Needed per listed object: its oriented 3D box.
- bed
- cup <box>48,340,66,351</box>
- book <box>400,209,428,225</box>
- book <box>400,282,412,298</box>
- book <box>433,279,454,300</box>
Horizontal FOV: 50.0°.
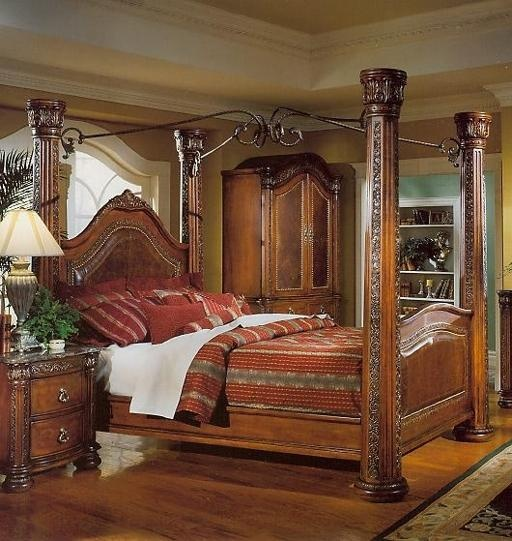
[{"bbox_3d":[0.779,0.324,3.891,3.011,1.997,2.535,-9,-19,44],"label":"bed"},{"bbox_3d":[-1.071,0.399,2.940,0.080,0.029,0.066,-1,3,-26],"label":"cup"},{"bbox_3d":[1.990,-0.664,6.872,0.299,0.179,0.260,2,3,36],"label":"book"},{"bbox_3d":[1.886,0.224,6.949,0.210,0.211,0.254,1,4,14],"label":"book"},{"bbox_3d":[2.288,0.234,6.660,0.135,0.209,0.227,20,4,-17],"label":"book"}]
